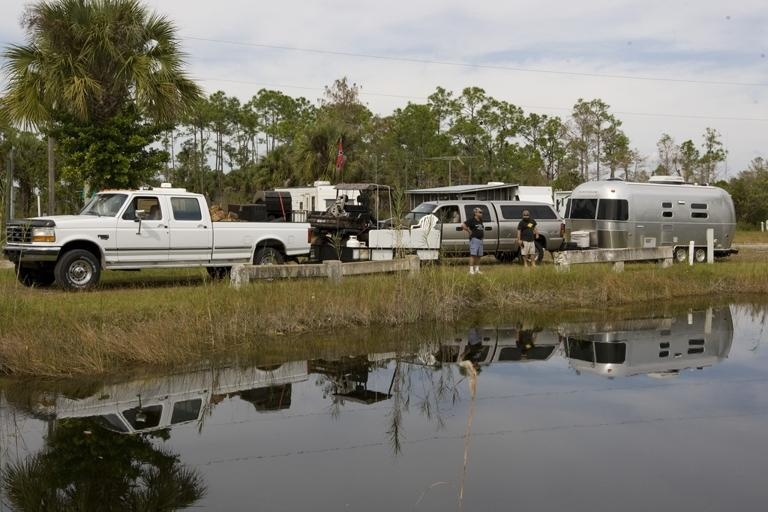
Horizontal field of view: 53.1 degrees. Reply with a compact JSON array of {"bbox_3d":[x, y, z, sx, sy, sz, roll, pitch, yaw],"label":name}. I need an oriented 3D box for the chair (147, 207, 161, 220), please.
[{"bbox_3d":[-5.685,-1.037,19.102,0.292,0.354,0.308,3,2,11],"label":"chair"}]

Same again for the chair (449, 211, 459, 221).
[{"bbox_3d":[2.185,-1.284,25.069,0.280,0.282,0.483,7,8,3],"label":"chair"}]

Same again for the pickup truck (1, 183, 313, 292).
[{"bbox_3d":[-5.821,-0.732,19.492,6.887,2.145,1.450,-3,4,-30],"label":"pickup truck"}]

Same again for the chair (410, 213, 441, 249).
[{"bbox_3d":[1.255,-0.759,22.349,0.940,1.431,0.995,1,-2,2],"label":"chair"}]
